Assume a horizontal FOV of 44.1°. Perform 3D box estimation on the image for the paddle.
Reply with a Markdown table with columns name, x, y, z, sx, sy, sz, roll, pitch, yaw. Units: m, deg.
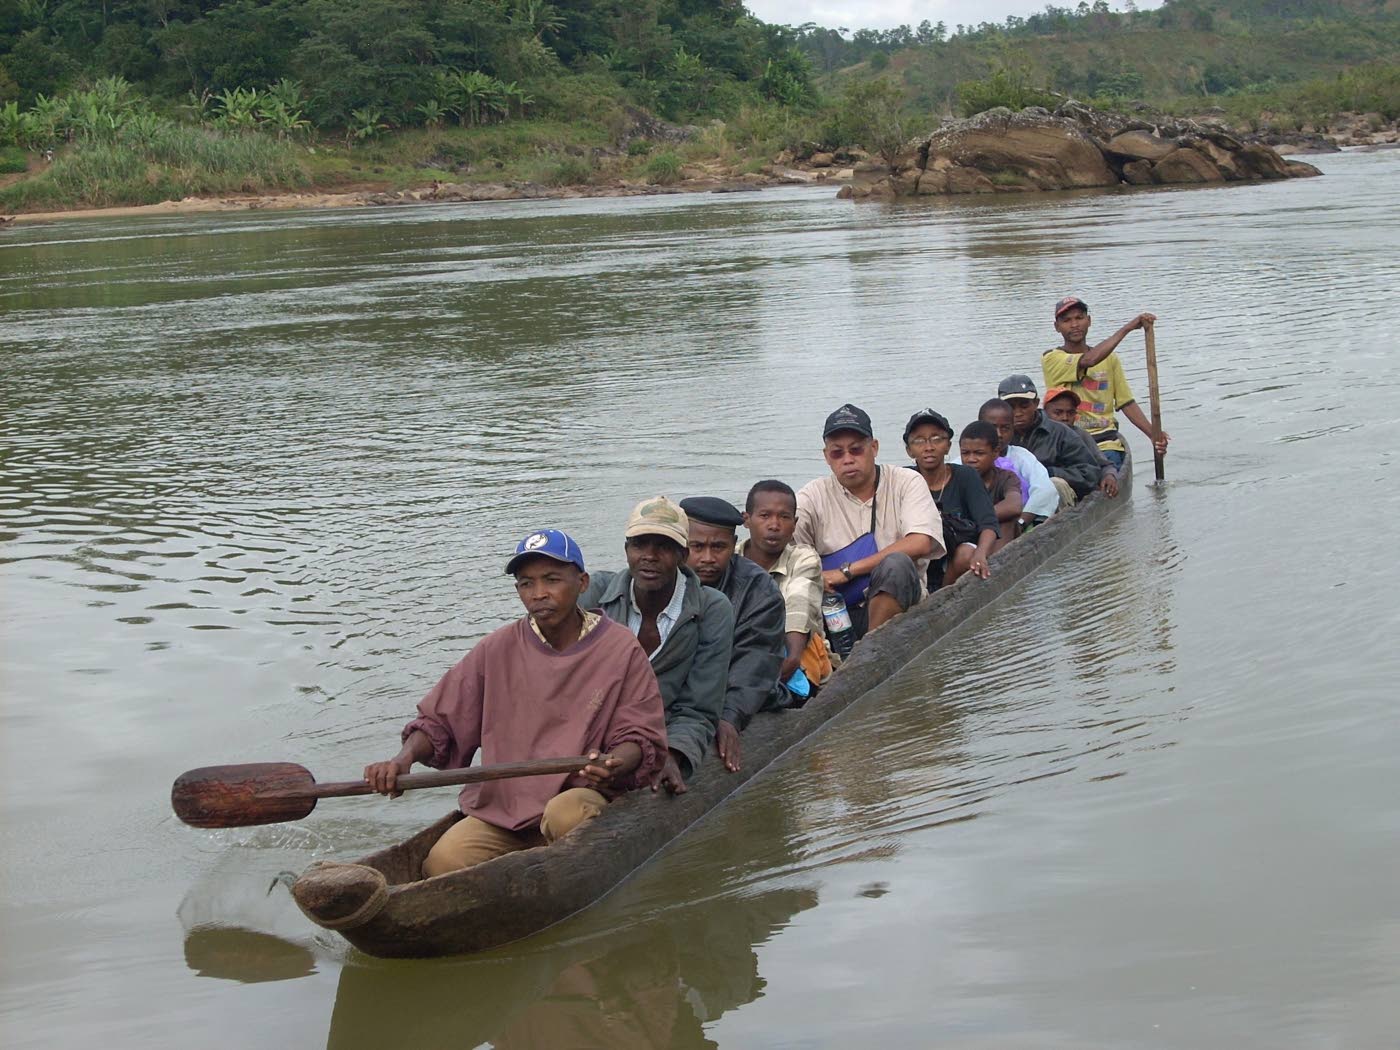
| name | x | y | z | sx | sy | sz | roll | pitch | yaw |
| --- | --- | --- | --- | --- | --- | --- | --- | --- | --- |
| paddle | -1.284 | 1.085 | 7.399 | 2.108 | 0.295 | 0.155 | 2 | -42 | -42 |

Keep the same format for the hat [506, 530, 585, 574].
| name | x | y | z | sx | sy | sz | roll | pitch | yaw |
| --- | --- | --- | --- | --- | --- | --- | --- | --- | --- |
| hat | -0.594 | 0.089 | 6.958 | 0.210 | 0.122 | 0.270 | -6 | -18 | 24 |

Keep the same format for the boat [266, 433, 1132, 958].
| name | x | y | z | sx | sy | sz | roll | pitch | yaw |
| --- | --- | --- | --- | --- | --- | --- | --- | --- | --- |
| boat | 0.098 | 0.835 | 8.149 | 6.603 | 0.605 | 0.750 | -20 | 5 | -40 |

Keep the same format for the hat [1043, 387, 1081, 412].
| name | x | y | z | sx | sy | sz | roll | pitch | yaw |
| --- | --- | --- | --- | --- | --- | --- | --- | --- | --- |
| hat | 2.515 | -0.901 | 12.085 | 0.250 | 0.153 | 0.147 | -5 | 15 | 1 |

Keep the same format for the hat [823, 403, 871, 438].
| name | x | y | z | sx | sy | sz | roll | pitch | yaw |
| --- | --- | --- | --- | --- | --- | --- | --- | --- | --- |
| hat | 0.772 | -0.552 | 9.031 | 0.201 | 0.124 | 0.254 | -3 | -15 | 12 |

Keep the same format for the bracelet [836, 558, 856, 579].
| name | x | y | z | sx | sy | sz | roll | pitch | yaw |
| --- | --- | --- | --- | --- | --- | --- | --- | --- | --- |
| bracelet | 0.777 | 0.226 | 9.217 | 0.099 | 0.119 | 0.122 | 7 | 43 | 9 |

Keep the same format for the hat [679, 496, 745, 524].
| name | x | y | z | sx | sy | sz | roll | pitch | yaw |
| --- | --- | --- | --- | --- | --- | --- | --- | --- | --- |
| hat | 0.043 | -0.073 | 8.109 | 0.346 | 0.085 | 0.330 | 8 | -3 | -6 |

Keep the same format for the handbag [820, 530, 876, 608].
| name | x | y | z | sx | sy | sz | roll | pitch | yaw |
| --- | --- | --- | --- | --- | --- | --- | --- | --- | --- |
| handbag | 0.821 | 0.225 | 9.242 | 0.454 | 0.340 | 0.147 | -8 | -4 | 22 |
